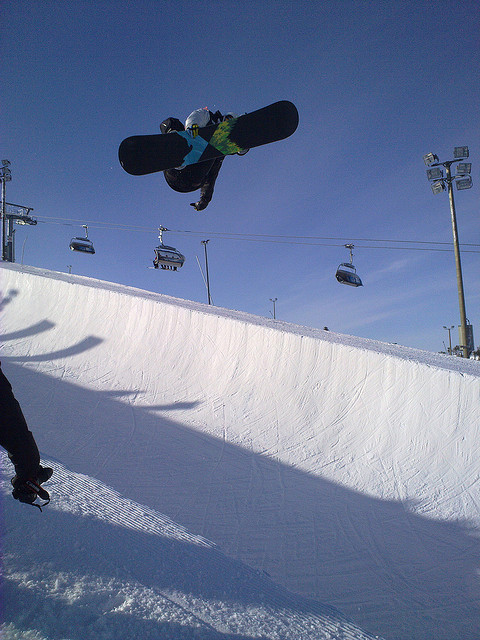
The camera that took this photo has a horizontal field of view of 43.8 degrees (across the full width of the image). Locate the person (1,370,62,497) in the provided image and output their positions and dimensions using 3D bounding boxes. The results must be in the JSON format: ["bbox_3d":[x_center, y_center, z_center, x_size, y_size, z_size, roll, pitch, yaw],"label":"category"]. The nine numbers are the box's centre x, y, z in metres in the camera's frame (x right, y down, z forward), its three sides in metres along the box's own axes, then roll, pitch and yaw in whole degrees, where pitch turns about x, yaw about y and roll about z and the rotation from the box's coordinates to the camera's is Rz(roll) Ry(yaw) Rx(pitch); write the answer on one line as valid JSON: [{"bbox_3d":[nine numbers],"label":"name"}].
[{"bbox_3d":[-1.248,0.682,3.474,0.304,0.742,0.102,3,10,-23],"label":"person"}]

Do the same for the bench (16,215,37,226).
[{"bbox_3d":[-7.539,-3.495,20.863,0.638,0.333,1.443,4,10,-15],"label":"bench"}]
